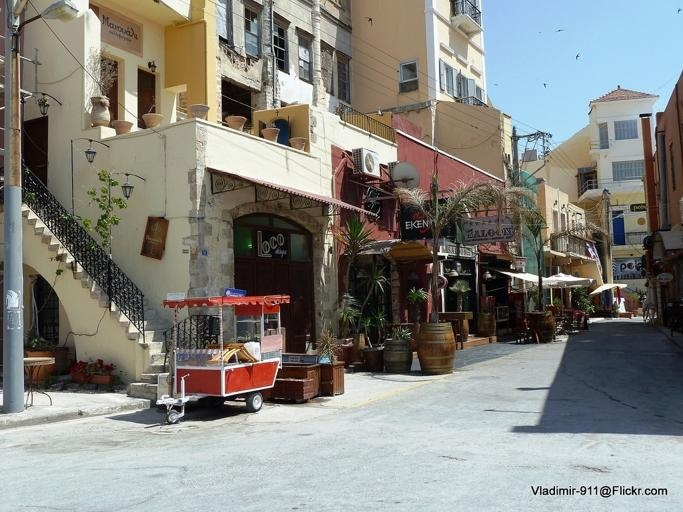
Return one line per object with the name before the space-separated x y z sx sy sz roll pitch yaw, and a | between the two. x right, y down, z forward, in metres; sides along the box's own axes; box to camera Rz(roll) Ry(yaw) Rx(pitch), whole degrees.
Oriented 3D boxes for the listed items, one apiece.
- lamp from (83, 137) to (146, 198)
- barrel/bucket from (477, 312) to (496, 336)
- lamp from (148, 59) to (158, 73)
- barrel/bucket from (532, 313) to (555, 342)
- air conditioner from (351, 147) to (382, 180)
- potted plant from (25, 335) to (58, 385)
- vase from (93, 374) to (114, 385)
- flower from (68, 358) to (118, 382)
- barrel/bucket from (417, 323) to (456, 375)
lamp | -6.188 -2.405 18.927 1.814 1.821 0.826 -8 -10 28
barrel/bucket | 5.957 2.819 29.230 0.778 0.878 0.820 0 -9 0
lamp | -6.047 -6.033 22.684 0.283 0.461 0.311 0 2 7
barrel/bucket | 8.022 2.784 27.895 0.935 1.266 1.045 0 -7 -7
air conditioner | 0.799 -3.106 24.121 0.396 0.828 1.135 -6 -9 30
potted plant | -7.488 2.634 17.667 0.917 1.049 0.959 0 1 15
vase | -5.780 2.967 17.153 0.628 0.260 0.096 -8 -10 27
flower | -6.086 2.824 17.323 0.827 0.417 0.643 1 -5 17
barrel/bucket | 2.538 2.513 19.358 1.149 1.636 1.198 -3 -7 0
